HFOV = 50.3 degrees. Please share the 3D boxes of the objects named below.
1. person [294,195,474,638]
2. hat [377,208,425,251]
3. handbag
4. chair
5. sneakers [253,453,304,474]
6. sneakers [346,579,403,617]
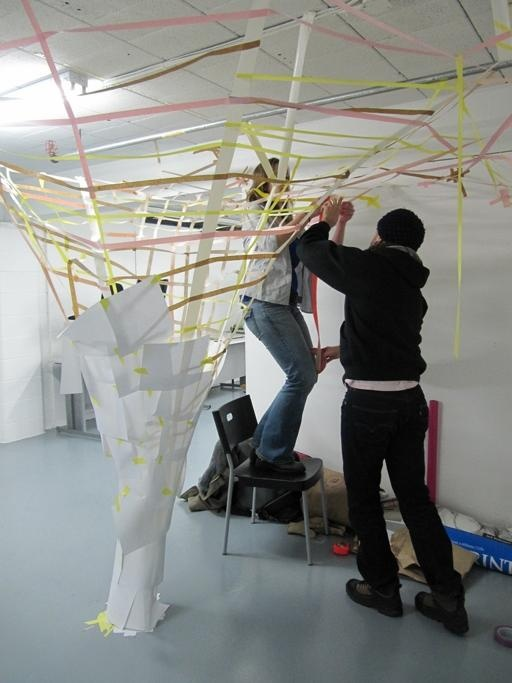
[{"bbox_3d":[0.430,0.239,1.790,0.515,1.401,0.296,-1,7,14],"label":"person"},{"bbox_3d":[0.469,-0.372,1.812,0.181,0.130,0.182,-7,10,-8],"label":"hat"},{"bbox_3d":[0.010,0.652,2.915,0.581,0.441,0.396,4,12,19],"label":"handbag"},{"bbox_3d":[0.074,0.586,2.400,0.473,0.551,0.359,6,8,14],"label":"chair"},{"bbox_3d":[0.093,0.505,2.298,0.218,0.076,0.074,0,3,14],"label":"sneakers"},{"bbox_3d":[0.427,0.875,1.941,0.208,0.083,0.079,15,23,41],"label":"sneakers"}]
